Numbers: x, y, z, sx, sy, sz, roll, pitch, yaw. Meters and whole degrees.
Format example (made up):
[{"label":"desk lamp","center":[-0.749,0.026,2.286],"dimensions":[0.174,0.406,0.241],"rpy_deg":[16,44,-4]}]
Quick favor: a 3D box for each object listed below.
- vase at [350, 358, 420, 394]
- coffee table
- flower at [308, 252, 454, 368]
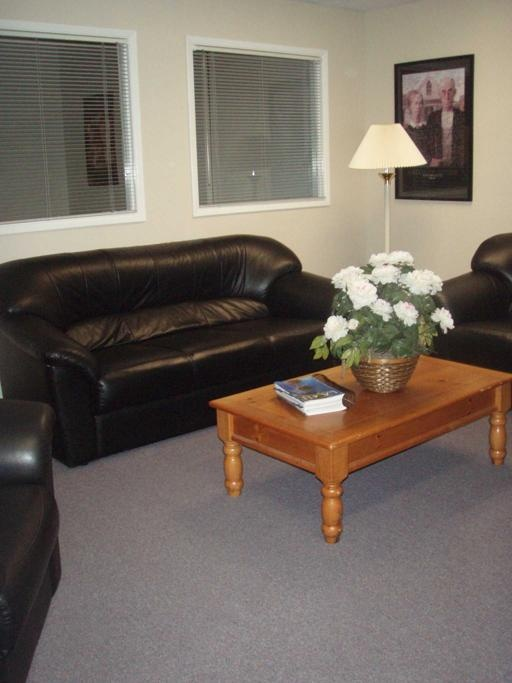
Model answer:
[{"label":"vase","center":[0.508,0.127,2.217],"dimensions":[0.180,0.094,0.181],"rpy_deg":[0,9,7]},{"label":"coffee table","center":[0.467,0.382,2.387],"dimensions":[1.137,0.441,0.676],"rpy_deg":[-8,10,-37]},{"label":"flower","center":[0.459,-0.100,2.134],"dimensions":[0.486,0.358,0.481],"rpy_deg":[-1,5,23]}]
